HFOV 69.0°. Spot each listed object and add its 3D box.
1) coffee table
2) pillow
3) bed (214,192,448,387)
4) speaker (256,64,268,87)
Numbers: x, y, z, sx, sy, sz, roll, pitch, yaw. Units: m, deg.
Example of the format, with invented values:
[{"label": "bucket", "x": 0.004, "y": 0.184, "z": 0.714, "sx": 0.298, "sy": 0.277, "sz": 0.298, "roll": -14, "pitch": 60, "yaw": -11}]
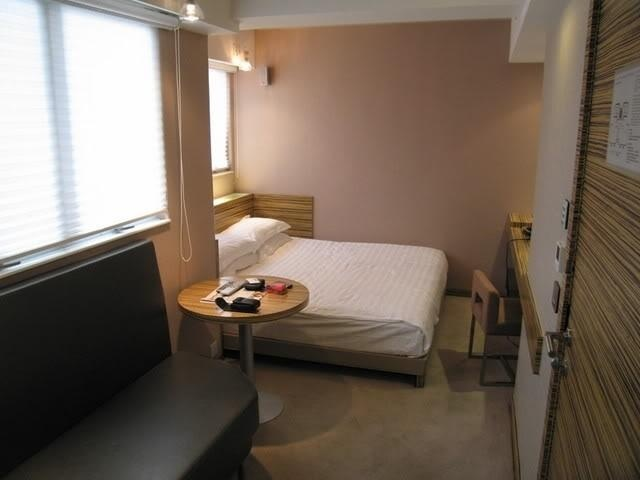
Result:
[{"label": "coffee table", "x": -0.509, "y": 0.721, "z": 3.400, "sx": 0.854, "sy": 0.859, "sz": 0.948, "roll": -1, "pitch": 15, "yaw": -3}, {"label": "pillow", "x": -0.732, "y": 0.035, "z": 4.793, "sx": 0.403, "sy": 0.237, "sz": 0.698, "roll": -2, "pitch": 20, "yaw": 13}, {"label": "bed", "x": 0.083, "y": 0.667, "z": 4.123, "sx": 1.866, "sy": 0.882, "sz": 1.866, "roll": 3, "pitch": 21, "yaw": 11}, {"label": "speaker", "x": -0.673, "y": -1.959, "z": 5.556, "sx": 0.196, "sy": 0.255, "sz": 0.133, "roll": 2, "pitch": 18, "yaw": 5}]
